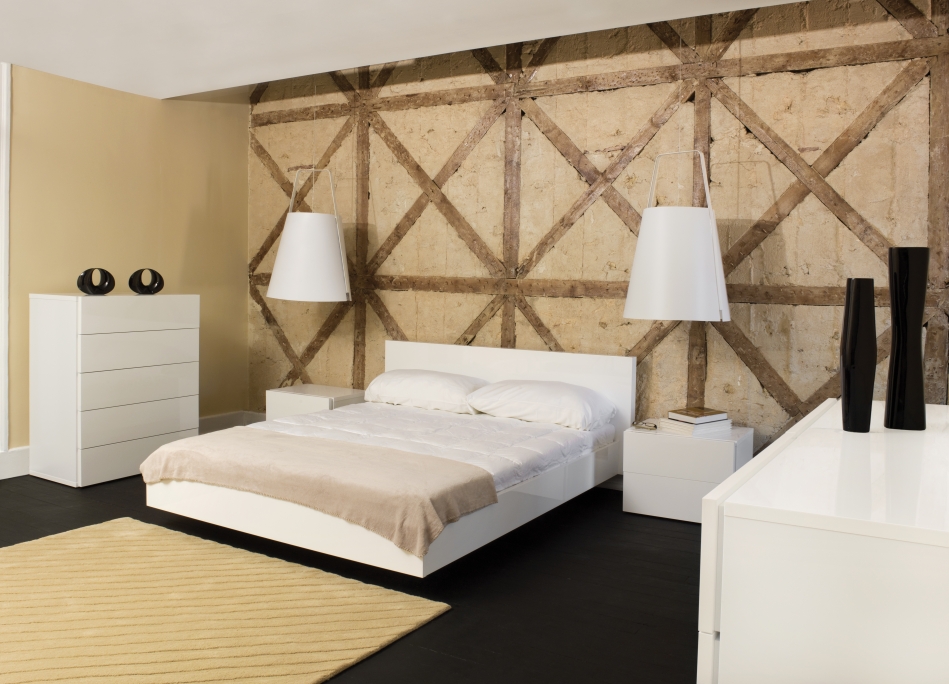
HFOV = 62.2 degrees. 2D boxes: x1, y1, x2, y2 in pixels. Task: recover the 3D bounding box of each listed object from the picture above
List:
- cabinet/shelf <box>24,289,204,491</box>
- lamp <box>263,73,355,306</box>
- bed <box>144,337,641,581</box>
[{"bbox_3d":[-2.585,0.286,5.659,0.663,1.248,1.059,6,6,32],"label":"cabinet/shelf"},{"bbox_3d":[-1.275,-0.801,6.133,0.604,1.100,0.905,-1,12,-7],"label":"lamp"},{"bbox_3d":[-0.022,0.705,4.506,1.631,0.661,1.836,3,5,36],"label":"bed"}]
